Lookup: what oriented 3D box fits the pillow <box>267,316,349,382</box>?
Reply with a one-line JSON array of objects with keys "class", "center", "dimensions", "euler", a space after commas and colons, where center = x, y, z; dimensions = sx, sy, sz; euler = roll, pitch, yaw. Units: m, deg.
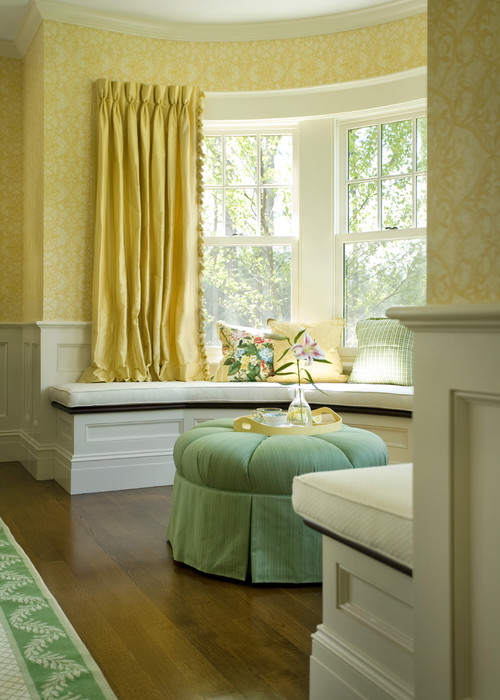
[{"class": "pillow", "center": [0.397, 0.011, 3.657], "dimensions": [0.453, 0.445, 0.166], "euler": [2, -38, -3]}]

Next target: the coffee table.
[{"class": "coffee table", "center": [0.035, 0.484, 2.082], "dimensions": [0.589, 0.370, 0.599], "euler": [-2, -3, 39]}]

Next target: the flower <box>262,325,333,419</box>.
[{"class": "flower", "center": [0.288, 0.153, 3.271], "dimensions": [0.372, 0.537, 0.369], "euler": [8, -20, -23]}]

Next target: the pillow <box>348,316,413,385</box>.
[{"class": "pillow", "center": [0.882, 0.024, 3.616], "dimensions": [0.428, 0.450, 0.168], "euler": [3, -18, 33]}]
